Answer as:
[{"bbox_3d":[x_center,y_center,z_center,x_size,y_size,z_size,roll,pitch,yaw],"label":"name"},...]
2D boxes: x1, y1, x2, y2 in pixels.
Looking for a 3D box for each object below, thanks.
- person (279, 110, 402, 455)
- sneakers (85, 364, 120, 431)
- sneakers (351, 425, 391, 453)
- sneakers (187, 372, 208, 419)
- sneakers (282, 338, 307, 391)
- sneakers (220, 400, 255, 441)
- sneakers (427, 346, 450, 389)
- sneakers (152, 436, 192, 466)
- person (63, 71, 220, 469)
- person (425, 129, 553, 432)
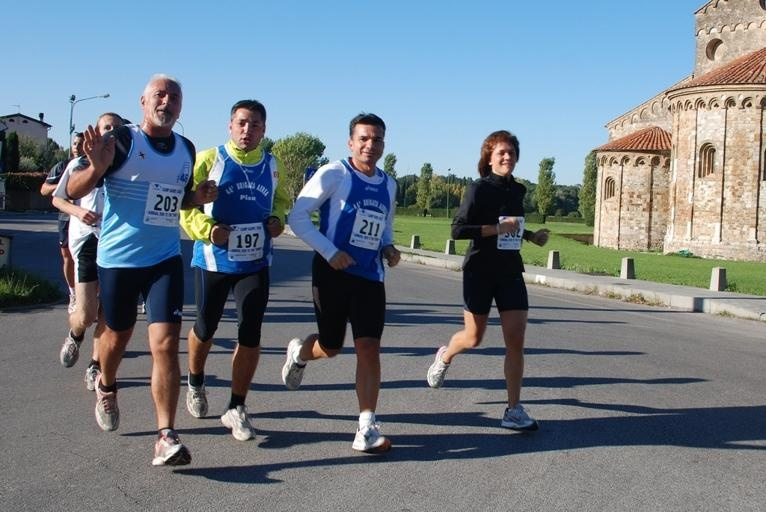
[{"bbox_3d":[-0.318,0.198,5.620,0.911,2.993,0.811,2,5,1],"label":"person"},{"bbox_3d":[-2.678,1.378,5.845,0.207,0.618,0.241,-8,-15,-36],"label":"sneakers"},{"bbox_3d":[-0.080,1.616,5.424,0.185,0.234,0.359,2,-1,31],"label":"sneakers"},{"bbox_3d":[-1.832,1.399,6.055,0.187,0.513,0.212,-7,7,-16],"label":"sneakers"},{"bbox_3d":[-0.933,1.146,6.428,0.258,0.611,0.227,-6,-8,44],"label":"sneakers"},{"bbox_3d":[-1.342,1.524,5.664,0.152,0.280,0.398,-3,7,-43],"label":"sneakers"},{"bbox_3d":[0.690,1.343,7.249,0.201,0.544,0.215,12,3,-35],"label":"sneakers"},{"bbox_3d":[-1.707,1.582,4.963,0.171,0.194,0.395,5,-12,-34],"label":"sneakers"},{"bbox_3d":[-2.058,0.061,5.266,1.089,3.253,0.857,3,5,11],"label":"person"},{"bbox_3d":[1.100,0.165,6.435,0.777,2.969,1.355,2,5,-5],"label":"person"}]
